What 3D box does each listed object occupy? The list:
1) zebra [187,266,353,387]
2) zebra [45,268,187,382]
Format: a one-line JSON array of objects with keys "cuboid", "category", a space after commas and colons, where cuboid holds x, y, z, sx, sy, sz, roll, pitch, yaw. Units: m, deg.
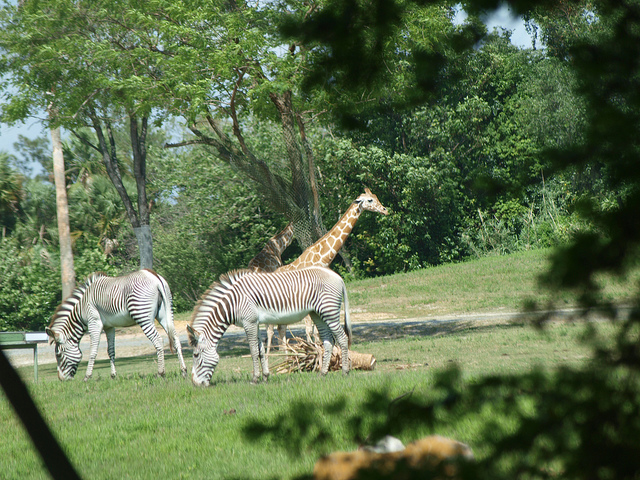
[{"cuboid": [-1.324, 2.264, 26.743, 4.172, 3.426, 1.279, -8, -3, -6], "category": "zebra"}, {"cuboid": [-5.581, 2.311, 28.084, 3.288, 2.590, 0.830, -6, 3, 7], "category": "zebra"}]
